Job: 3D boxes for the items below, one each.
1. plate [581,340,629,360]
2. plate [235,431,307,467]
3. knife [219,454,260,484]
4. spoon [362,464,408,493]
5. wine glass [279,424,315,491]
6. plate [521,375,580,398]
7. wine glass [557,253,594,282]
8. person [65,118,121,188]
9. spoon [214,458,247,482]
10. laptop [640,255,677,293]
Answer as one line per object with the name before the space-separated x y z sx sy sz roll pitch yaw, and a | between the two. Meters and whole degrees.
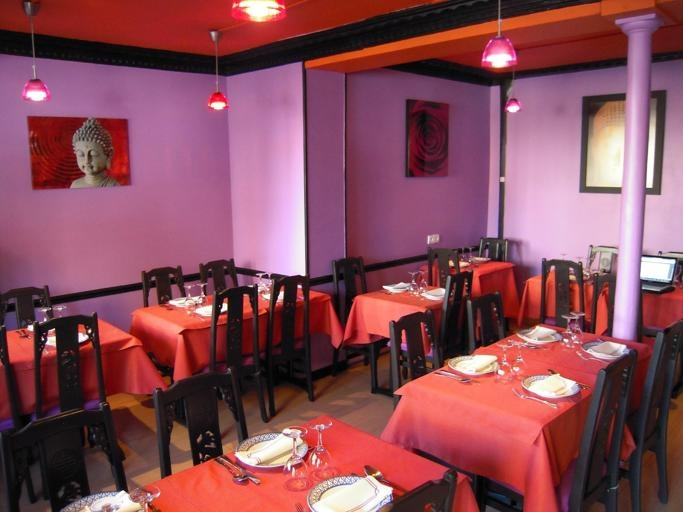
plate | 1.950 0.682 3.913 0.299 0.069 0.351 3 10 34
plate | -0.373 1.021 2.797 0.341 0.376 0.045 -22 41 16
knife | -0.527 1.102 2.694 0.288 0.035 0.087 13 20 41
spoon | 0.195 1.089 2.617 0.068 0.059 0.384 -6 7 -27
wine glass | -0.234 0.985 2.709 0.122 0.254 0.354 -4 9 -8
plate | 1.317 0.821 3.346 0.175 0.034 0.172 -15 15 -43
wine glass | 2.721 0.140 6.132 0.291 0.465 0.262 -2 11 0
person | -2.610 -1.085 5.505 0.535 0.939 0.336 -10 20 -36
spoon | -0.557 1.097 2.709 0.064 0.037 0.237 -5 8 -30
laptop | 3.331 0.204 5.571 0.250 0.233 0.292 -13 17 -38
